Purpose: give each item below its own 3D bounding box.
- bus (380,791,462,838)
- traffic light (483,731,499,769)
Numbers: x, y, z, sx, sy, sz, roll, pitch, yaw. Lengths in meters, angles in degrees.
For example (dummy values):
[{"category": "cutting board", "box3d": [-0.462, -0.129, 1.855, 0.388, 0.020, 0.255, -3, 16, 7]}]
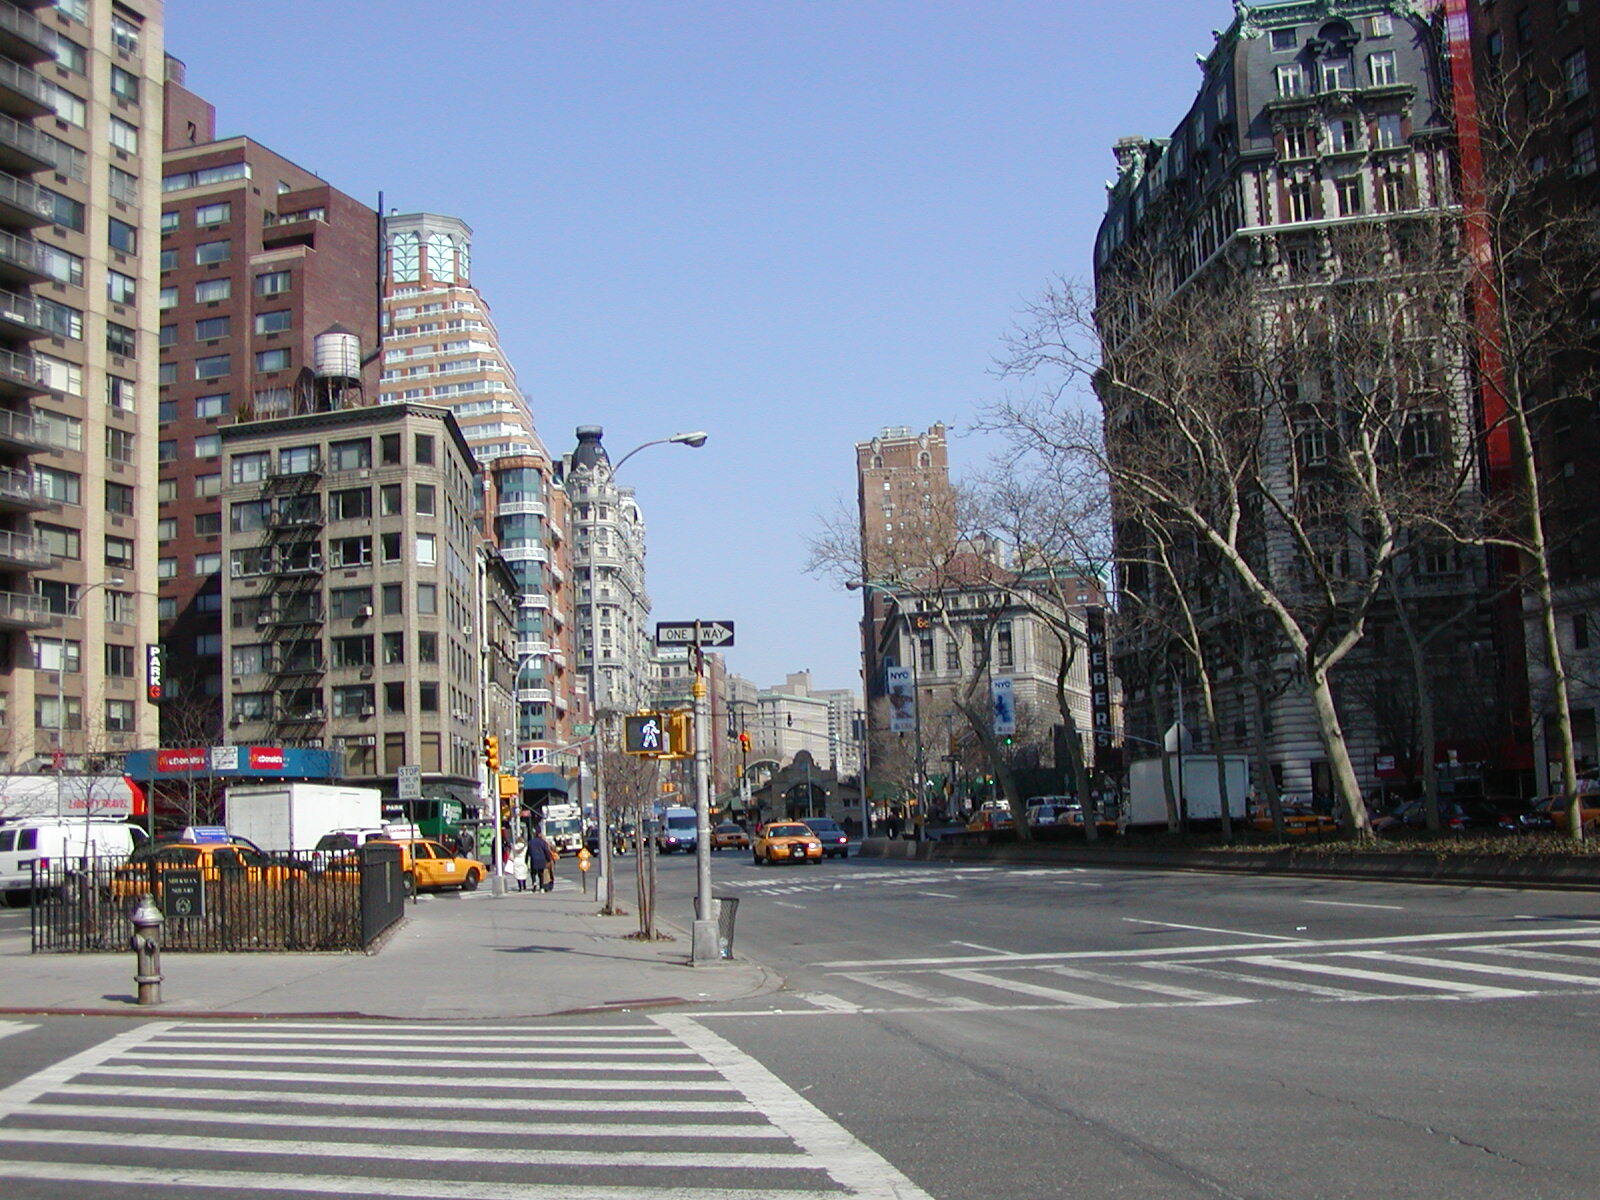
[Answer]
[{"category": "bus", "box3d": [-16.549, 9.482, 76.943, 3.269, 2.846, 2.032, -1, -11, 7]}, {"category": "traffic light", "box3d": [-7.894, 3.841, 44.966, 0.293, 0.885, 1.355, 0, -13, -14]}]
